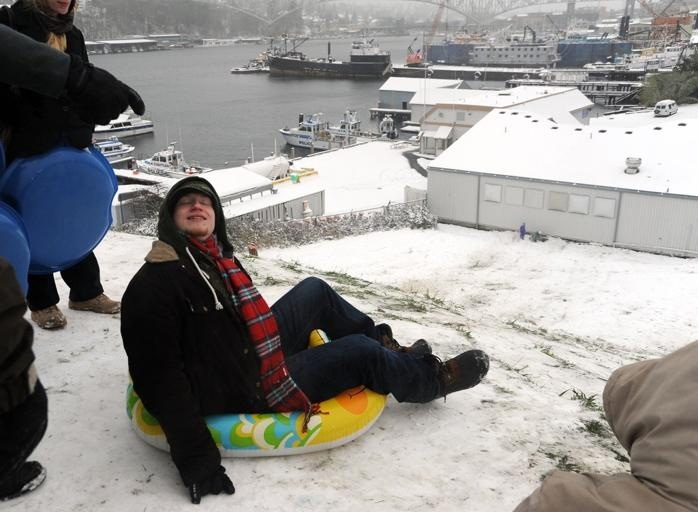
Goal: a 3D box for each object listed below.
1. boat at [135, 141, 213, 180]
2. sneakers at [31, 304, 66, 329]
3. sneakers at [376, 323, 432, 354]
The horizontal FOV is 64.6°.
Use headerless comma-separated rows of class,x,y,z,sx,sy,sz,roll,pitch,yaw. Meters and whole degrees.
boat,-9.538,-4.839,28.939,4.559,1.781,1.557,12,18,26
sneakers,-2.504,0.514,4.581,0.325,0.139,0.134,0,9,34
sneakers,0.385,0.613,4.066,0.531,0.232,0.176,-1,19,5
